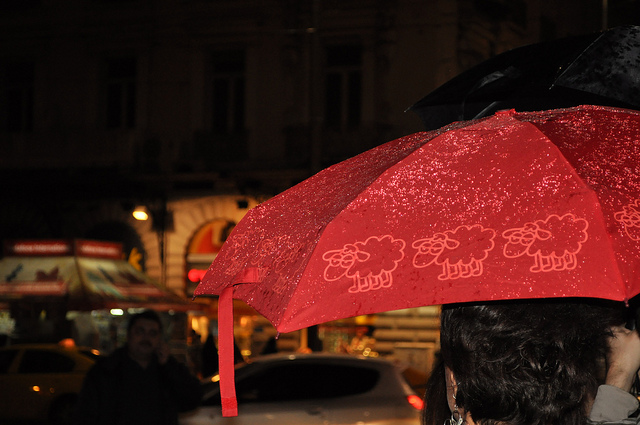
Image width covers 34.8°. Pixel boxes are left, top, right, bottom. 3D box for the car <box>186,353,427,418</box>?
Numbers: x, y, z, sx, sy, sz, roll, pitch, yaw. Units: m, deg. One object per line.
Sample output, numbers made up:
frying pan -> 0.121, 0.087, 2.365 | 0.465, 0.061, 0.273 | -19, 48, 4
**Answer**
car -> -0.111, 2.610, 15.173 | 3.183, 1.102, 1.523 | 2, -15, -2
